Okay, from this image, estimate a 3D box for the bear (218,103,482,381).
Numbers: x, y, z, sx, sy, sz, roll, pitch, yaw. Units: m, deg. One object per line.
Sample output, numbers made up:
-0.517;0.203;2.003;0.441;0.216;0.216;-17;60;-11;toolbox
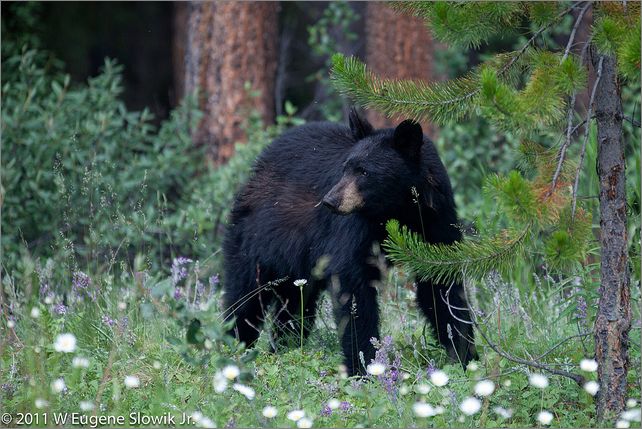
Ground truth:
0.229;0.359;7.593;1.212;2.377;2.733;-4;-1;-38;bear
